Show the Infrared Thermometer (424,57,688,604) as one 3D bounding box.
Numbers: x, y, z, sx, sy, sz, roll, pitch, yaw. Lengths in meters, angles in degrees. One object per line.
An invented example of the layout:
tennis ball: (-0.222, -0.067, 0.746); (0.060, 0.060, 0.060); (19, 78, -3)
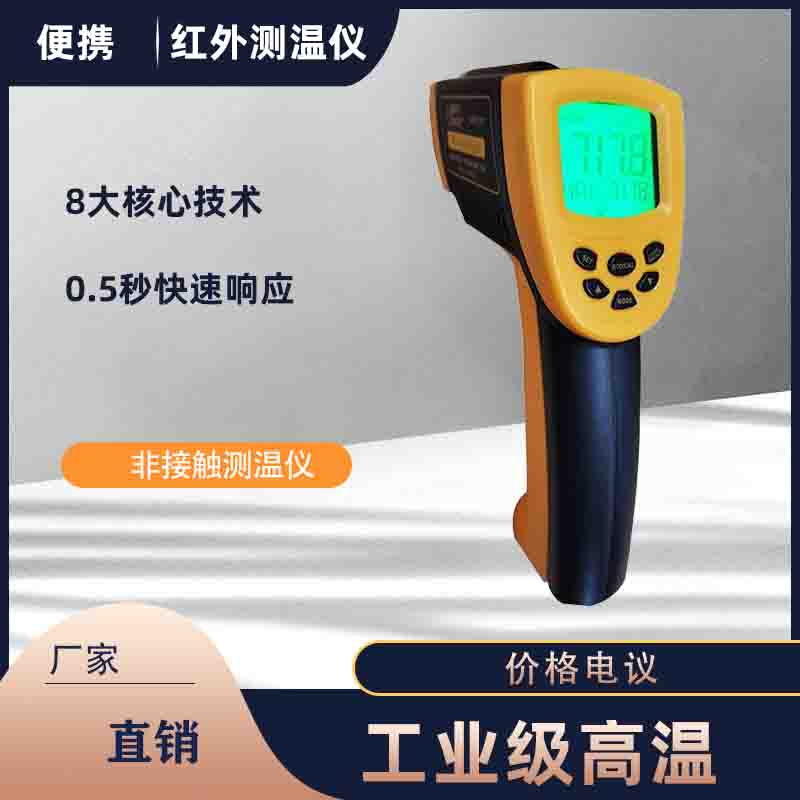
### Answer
Infrared Thermometer: (0.233, -0.090, 1.469); (0.350, 0.816, 0.362); (4, -5, -26)
